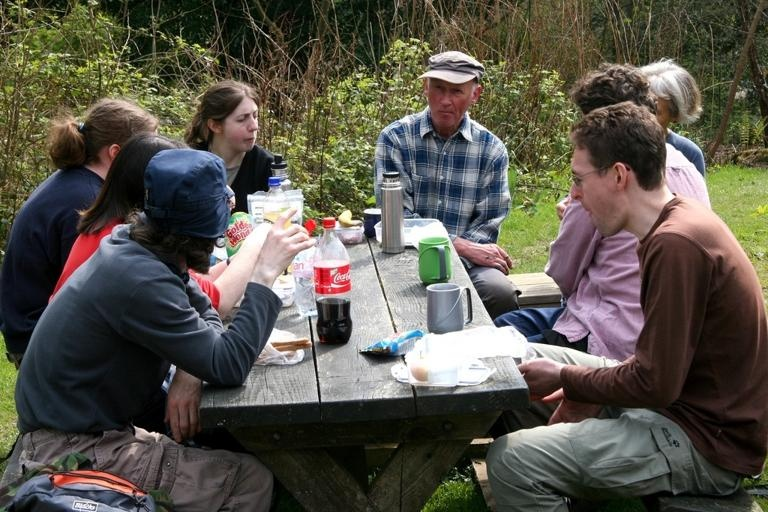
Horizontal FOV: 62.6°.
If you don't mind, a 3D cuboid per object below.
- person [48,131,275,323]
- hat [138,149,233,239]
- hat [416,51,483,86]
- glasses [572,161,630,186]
[{"bbox_3d":[-1.021,-0.308,3.191,1.098,0.927,0.729,-15,42,-26],"label":"person"},{"bbox_3d":[-0.758,-0.262,2.613,0.381,0.303,0.270,15,27,11],"label":"hat"},{"bbox_3d":[0.533,-1.356,4.593,0.282,0.140,0.375,11,14,41],"label":"hat"},{"bbox_3d":[0.955,-0.379,2.895,0.145,0.045,0.111,-17,6,19],"label":"glasses"}]
